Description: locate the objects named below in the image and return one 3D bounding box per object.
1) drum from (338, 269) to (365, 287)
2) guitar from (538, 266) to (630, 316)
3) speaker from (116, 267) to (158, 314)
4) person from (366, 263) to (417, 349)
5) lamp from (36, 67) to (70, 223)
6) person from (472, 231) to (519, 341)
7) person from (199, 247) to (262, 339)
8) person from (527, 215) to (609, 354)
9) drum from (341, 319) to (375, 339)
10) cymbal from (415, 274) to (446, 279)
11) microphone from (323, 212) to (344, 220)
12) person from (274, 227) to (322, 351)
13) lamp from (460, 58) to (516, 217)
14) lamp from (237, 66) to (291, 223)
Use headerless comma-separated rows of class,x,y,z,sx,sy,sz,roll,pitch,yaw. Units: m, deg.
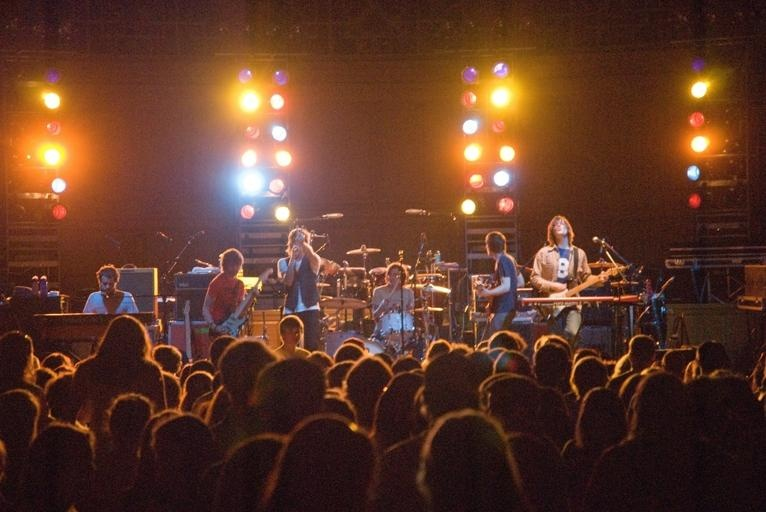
drum,-0.557,0.393,16.415,0.444,0.336,0.761,1,-2,-3
guitar,3.155,0.535,14.546,1.802,0.795,0.894,3,-2,-43
speaker,-4.047,0.592,15.046,0.648,0.913,0.469,-1,-11,-5
person,0.190,0.870,15.270,0.683,1.468,1.022,1,-4,-8
lamp,-6.094,-2.045,16.887,0.492,1.991,1.070,1,-1,-20
person,1.827,0.673,14.357,0.621,2.079,0.681,7,17,26
person,-2.358,0.557,14.184,0.659,1.050,1.451,13,8,1
person,2.959,0.463,14.856,0.946,2.263,0.934,0,0,-2
drum,-0.442,1.235,15.806,0.366,0.398,0.372,0,-3,21
cymbal,0.818,0.355,15.853,0.405,0.122,0.588,2,-2,-18
microphone,-0.951,-0.740,16.927,0.185,0.161,0.604,-10,6,-35
person,-1.216,0.725,13.924,0.758,2.284,0.607,-6,-5,36
lamp,1.928,-2.102,16.571,0.990,2.719,0.623,1,-1,8
lamp,-2.162,-1.999,16.675,0.905,2.643,0.684,1,-1,-7
